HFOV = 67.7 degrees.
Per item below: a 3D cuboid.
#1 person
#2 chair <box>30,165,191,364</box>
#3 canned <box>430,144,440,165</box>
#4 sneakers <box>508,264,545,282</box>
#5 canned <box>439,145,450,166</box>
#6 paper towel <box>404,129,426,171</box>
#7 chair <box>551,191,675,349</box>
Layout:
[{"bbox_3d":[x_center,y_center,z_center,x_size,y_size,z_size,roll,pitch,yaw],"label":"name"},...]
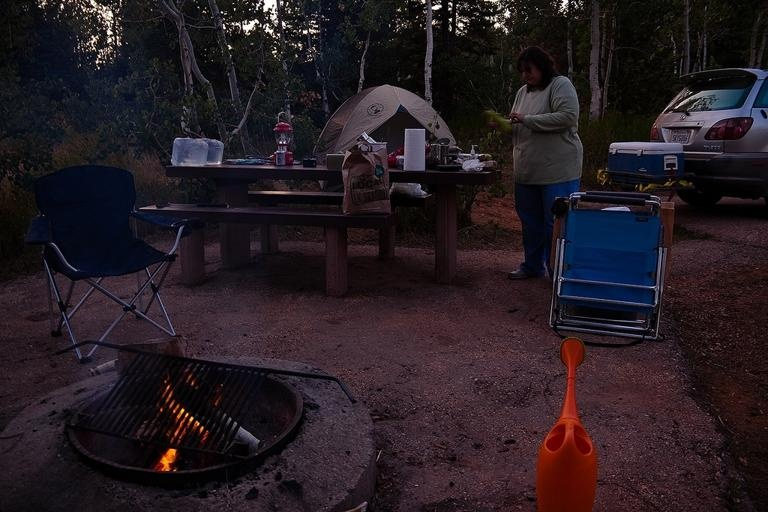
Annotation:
[{"bbox_3d":[1.717,-0.959,6.189,0.748,2.475,0.584,4,15,17],"label":"person"},{"bbox_3d":[-2.448,-0.041,5.097,1.061,1.486,1.600,-7,16,-23],"label":"chair"},{"bbox_3d":[0.557,-1.108,6.227,0.068,0.216,0.168,-8,16,-25],"label":"canned"},{"bbox_3d":[1.579,0.201,6.458,0.441,0.179,0.162,2,3,1],"label":"sneakers"},{"bbox_3d":[0.641,-1.103,6.179,0.100,0.206,0.182,1,14,7],"label":"canned"},{"bbox_3d":[0.312,-1.125,6.060,0.226,0.416,0.189,-1,15,-1],"label":"paper towel"},{"bbox_3d":[1.743,0.070,4.466,0.877,1.076,0.704,3,15,16],"label":"chair"}]
